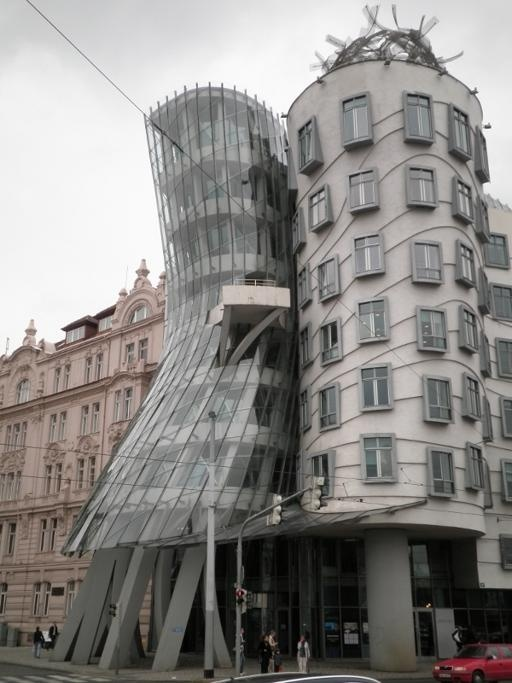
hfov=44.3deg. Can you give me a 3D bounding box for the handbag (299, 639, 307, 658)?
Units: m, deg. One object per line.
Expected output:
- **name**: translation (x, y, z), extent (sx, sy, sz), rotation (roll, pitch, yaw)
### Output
- **handbag**: translation (1.302, 8.706, 17.818), extent (0.208, 0.395, 0.407), rotation (1, -26, 3)

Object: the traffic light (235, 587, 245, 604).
- **traffic light**: translation (-0.462, 7.413, 18.337), extent (0.222, 0.453, 0.491), rotation (3, -26, -2)
